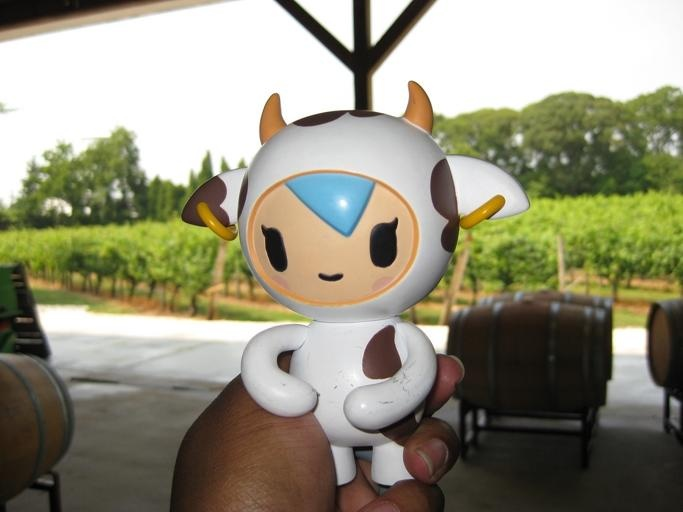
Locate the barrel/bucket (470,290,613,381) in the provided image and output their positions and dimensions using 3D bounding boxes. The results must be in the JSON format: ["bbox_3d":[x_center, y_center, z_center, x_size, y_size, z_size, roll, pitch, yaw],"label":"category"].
[{"bbox_3d":[1.616,0.569,5.643,0.663,1.173,0.812,3,-6,-22],"label":"barrel/bucket"}]
